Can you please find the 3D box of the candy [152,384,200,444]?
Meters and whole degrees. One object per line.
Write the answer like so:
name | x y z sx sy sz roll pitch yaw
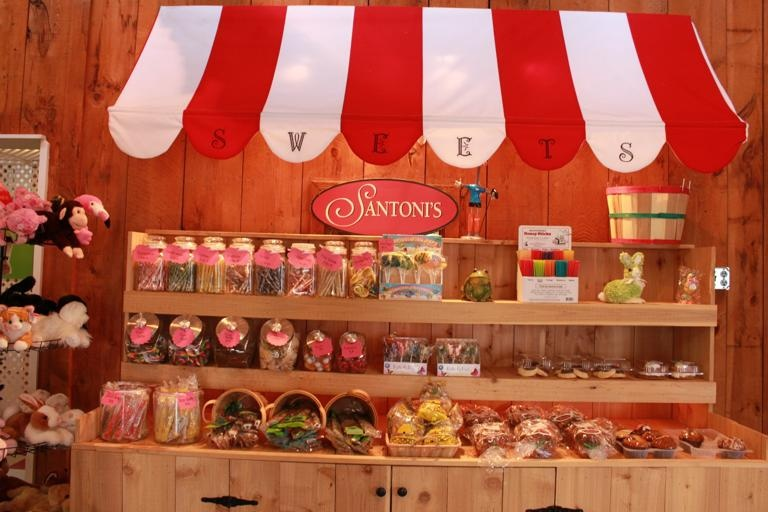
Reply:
candy | -1.315 1.012 6.226 0.313 0.407 0.335 1 3 -5

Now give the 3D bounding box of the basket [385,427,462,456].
basket | 0.255 1.214 6.054 0.479 0.142 0.136 -1 -6 -1

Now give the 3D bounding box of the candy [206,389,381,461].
candy | -0.554 1.064 6.253 1.055 0.404 0.340 -2 2 3

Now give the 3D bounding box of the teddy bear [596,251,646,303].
teddy bear | 1.590 0.151 6.344 0.256 0.361 0.229 -1 -9 24

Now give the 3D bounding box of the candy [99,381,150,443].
candy | -1.646 0.981 6.111 0.315 0.411 0.338 1 -1 -2

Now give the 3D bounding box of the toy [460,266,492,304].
toy | 0.613 0.203 6.220 0.139 0.150 0.215 1 -15 3
